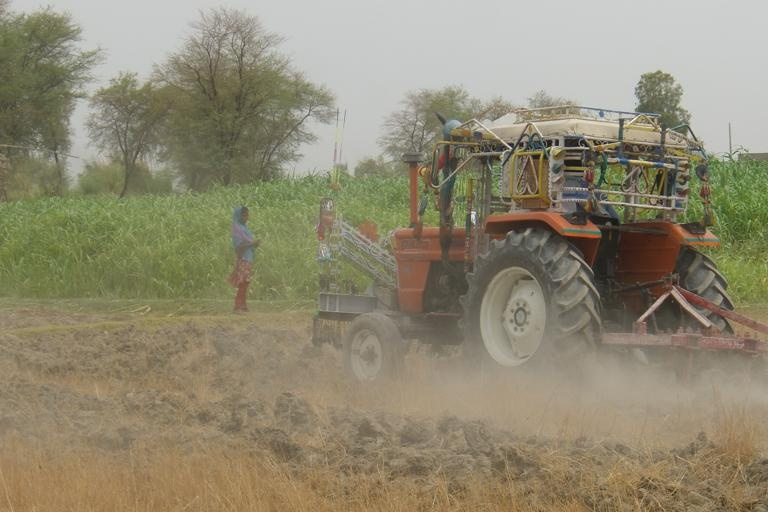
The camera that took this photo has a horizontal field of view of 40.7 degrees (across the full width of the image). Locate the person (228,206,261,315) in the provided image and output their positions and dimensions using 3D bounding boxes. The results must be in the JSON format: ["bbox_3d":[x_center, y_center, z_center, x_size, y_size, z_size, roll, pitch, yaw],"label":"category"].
[{"bbox_3d":[-2.634,0.070,19.597,0.469,1.947,0.440,2,0,-9],"label":"person"}]

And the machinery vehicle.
[{"bbox_3d":[1.293,-0.233,16.070,7.414,3.971,2.992,2,1,42],"label":"machinery vehicle"}]
